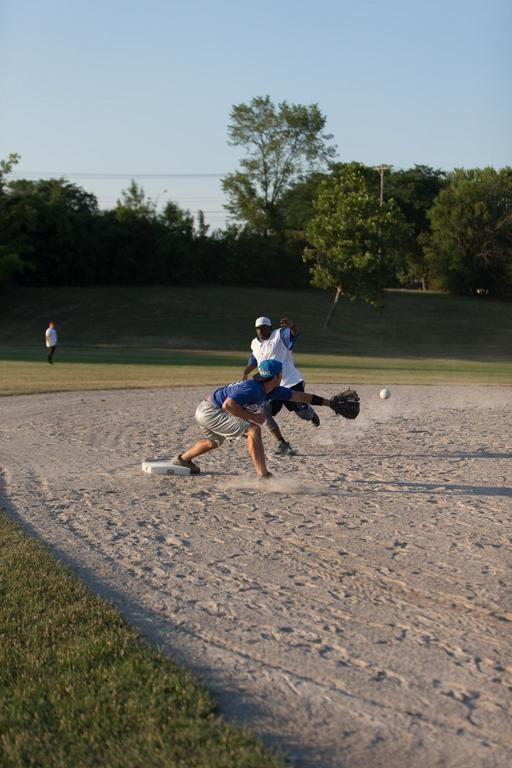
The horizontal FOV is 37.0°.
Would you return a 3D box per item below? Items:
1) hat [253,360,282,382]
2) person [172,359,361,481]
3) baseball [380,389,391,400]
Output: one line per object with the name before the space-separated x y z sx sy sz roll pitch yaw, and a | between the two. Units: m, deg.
hat | 0.118 -0.125 6.625 0.149 0.117 0.205 -7 20 1
person | 0.090 0.339 6.973 1.774 1.068 0.663 2 4 13
baseball | 2.354 0.183 14.011 0.213 0.199 0.245 -6 -5 7
